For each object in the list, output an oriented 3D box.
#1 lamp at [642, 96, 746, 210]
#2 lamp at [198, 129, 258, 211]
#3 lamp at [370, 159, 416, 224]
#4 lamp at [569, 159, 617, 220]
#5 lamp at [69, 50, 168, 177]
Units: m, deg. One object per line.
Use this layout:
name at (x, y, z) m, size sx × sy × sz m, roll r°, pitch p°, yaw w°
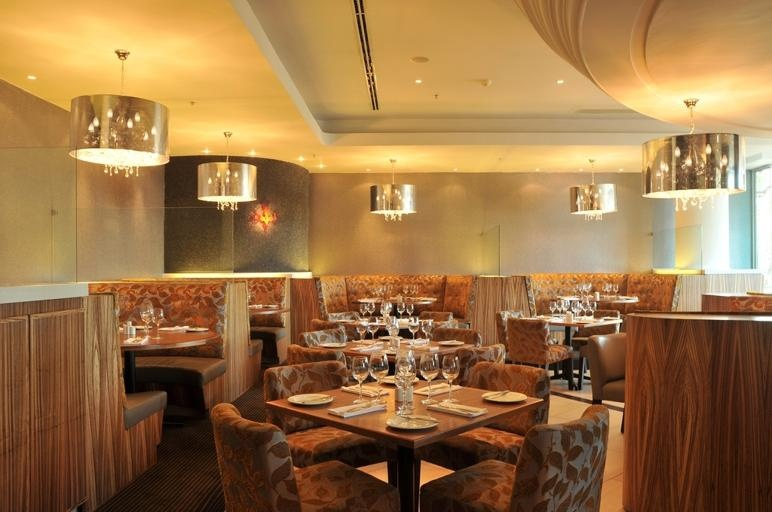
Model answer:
lamp at (3.756, -1.324, 7.112) m, size 1.130 × 1.275 × 1.153 m, roll -1°, pitch 8°, yaw 8°
lamp at (-2.484, -1.341, 8.943) m, size 0.936 × 1.348 × 0.949 m, roll -1°, pitch -5°, yaw 5°
lamp at (0.183, -1.209, 10.460) m, size 0.810 × 1.203 × 0.842 m, roll -5°, pitch -4°, yaw 15°
lamp at (3.757, -1.200, 10.278) m, size 0.801 × 1.193 × 0.822 m, roll 0°, pitch -4°, yaw 1°
lamp at (-2.967, -1.621, 6.303) m, size 0.883 × 1.275 × 0.872 m, roll 8°, pitch 4°, yaw -31°
